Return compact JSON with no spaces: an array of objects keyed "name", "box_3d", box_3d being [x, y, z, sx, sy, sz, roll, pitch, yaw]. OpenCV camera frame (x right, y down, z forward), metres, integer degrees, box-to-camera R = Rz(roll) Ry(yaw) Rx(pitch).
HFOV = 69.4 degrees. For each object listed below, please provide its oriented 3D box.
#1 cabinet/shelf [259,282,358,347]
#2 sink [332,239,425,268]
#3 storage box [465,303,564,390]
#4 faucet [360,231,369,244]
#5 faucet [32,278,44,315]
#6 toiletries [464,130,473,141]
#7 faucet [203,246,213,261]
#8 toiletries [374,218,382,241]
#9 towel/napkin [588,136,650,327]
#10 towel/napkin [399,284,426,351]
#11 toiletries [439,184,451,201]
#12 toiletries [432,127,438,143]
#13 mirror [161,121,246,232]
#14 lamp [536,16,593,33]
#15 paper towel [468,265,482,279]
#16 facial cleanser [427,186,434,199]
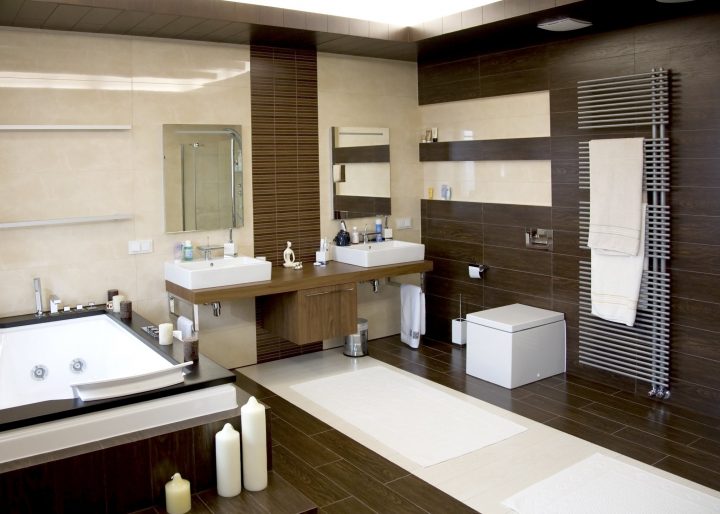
[{"name":"cabinet/shelf","box_3d":[-0.477,0.420,5.082,0.665,0.522,0.712,-6,11,-38]},{"name":"sink","box_3d":[0.198,-0.057,5.602,0.806,0.185,0.620,-8,14,-29]},{"name":"storage box","box_3d":[1.486,0.815,5.063,0.948,0.653,0.665,-3,4,-35]},{"name":"faucet","box_3d":[0.051,-0.235,5.869,0.113,0.145,0.107,2,0,-29]},{"name":"faucet","box_3d":[-2.667,0.321,4.299,0.079,0.292,0.234,-9,15,-31]},{"name":"toiletries","box_3d":[1.203,-1.361,5.761,0.123,0.120,0.067,6,13,31]},{"name":"faucet","box_3d":[-1.455,-0.047,4.955,0.108,0.195,0.106,-1,10,-16]},{"name":"toiletries","box_3d":[0.212,-0.322,5.974,0.091,0.258,0.156,-1,13,1]},{"name":"towel/napkin","box_3d":[2.175,-0.233,4.496,0.210,1.557,0.554,-13,17,-43]},{"name":"towel/napkin","box_3d":[0.579,0.677,5.808,0.131,0.746,0.674,-2,5,-18]},{"name":"toiletries","box_3d":[0.982,-0.760,6.050,0.164,0.176,0.056,10,17,42]},{"name":"toiletries","box_3d":[0.874,-1.441,6.069,0.059,0.170,0.083,8,15,35]},{"name":"mirror","box_3d":[-1.482,-0.756,4.949,0.779,1.019,0.016,-7,21,-26]},{"name":"lamp","box_3d":[1.683,-1.926,4.280,0.219,0.055,0.234,1,1,-43]},{"name":"paper towel","box_3d":[1.262,0.154,5.708,0.079,0.133,0.143,-4,7,-38]},{"name":"facial cleanser","box_3d":[0.840,-0.770,6.208,0.050,0.147,0.102,-11,16,-38]}]
